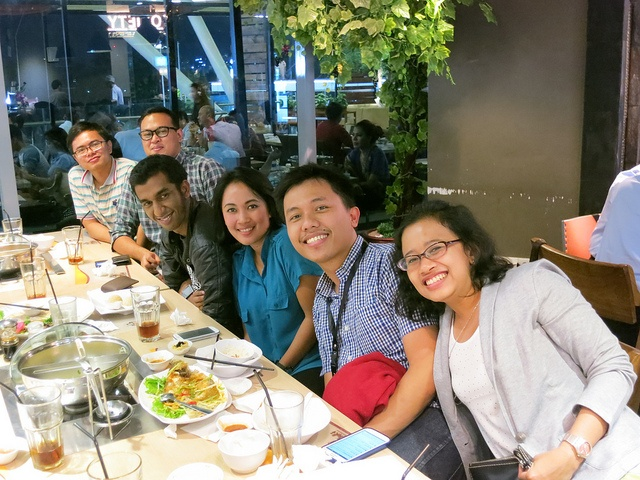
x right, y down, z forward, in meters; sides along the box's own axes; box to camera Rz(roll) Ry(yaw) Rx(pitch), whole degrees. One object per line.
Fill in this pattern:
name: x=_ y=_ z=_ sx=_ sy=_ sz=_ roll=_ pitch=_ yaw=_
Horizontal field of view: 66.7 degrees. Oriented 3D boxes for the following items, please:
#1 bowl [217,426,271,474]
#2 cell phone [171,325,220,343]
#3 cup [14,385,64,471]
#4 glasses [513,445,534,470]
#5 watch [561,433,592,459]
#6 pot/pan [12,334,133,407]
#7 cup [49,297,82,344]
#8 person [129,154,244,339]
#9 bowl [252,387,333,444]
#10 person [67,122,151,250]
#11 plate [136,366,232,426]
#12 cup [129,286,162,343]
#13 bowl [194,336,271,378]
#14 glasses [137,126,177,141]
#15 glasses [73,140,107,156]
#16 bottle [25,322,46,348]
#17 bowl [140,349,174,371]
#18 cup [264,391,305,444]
bowl: x=-0.214 y=0.609 z=1.396 sx=0.142 sy=0.096 sz=0.100 roll=-7 pitch=14 yaw=-9
cell phone: x=-0.535 y=0.405 z=2.097 sx=0.158 sy=0.016 sz=0.091 roll=-5 pitch=13 yaw=-45
cup: x=-0.819 y=0.535 z=1.447 sx=0.110 sy=0.200 sz=0.204 roll=-14 pitch=17 yaw=-35
glasses: x=0.594 y=0.634 z=1.422 sx=0.020 sy=0.034 sz=0.056 roll=28 pitch=23 yaw=-51
watch: x=0.754 y=0.607 z=1.422 sx=0.087 sy=0.078 sz=0.047 roll=-2 pitch=14 yaw=12
pot/pan: x=-0.819 y=0.484 z=1.613 sx=0.256 sy=0.118 sz=0.264 roll=-18 pitch=39 yaw=-27
cup: x=-1.094 y=0.352 z=2.067 sx=0.102 sy=0.180 sz=0.107 roll=-11 pitch=-7 yaw=-1
person: x=-0.769 y=0.050 z=2.772 sx=1.130 sy=0.398 sz=0.377 roll=38 pitch=25 yaw=31
bowl: x=-0.040 y=0.559 z=1.527 sx=0.154 sy=0.060 sz=0.185 roll=9 pitch=15 yaw=31
person: x=-1.858 y=-0.429 z=4.164 sx=0.551 sy=1.062 sz=0.589 roll=-5 pitch=22 yaw=11
plate: x=-0.461 y=0.529 z=1.651 sx=0.262 sy=0.064 sz=0.317 roll=-8 pitch=26 yaw=-36
cup: x=-0.745 y=0.333 z=2.122 sx=0.136 sy=0.239 sz=0.143 roll=-5 pitch=-15 yaw=-1
bowl: x=-0.342 y=0.476 z=1.866 sx=0.237 sy=0.086 sz=0.262 roll=0 pitch=-3 yaw=30
glasses: x=-1.333 y=-0.883 z=4.024 sx=0.294 sy=0.105 sz=0.126 roll=-9 pitch=14 yaw=-14
glasses: x=-1.916 y=-0.756 z=4.021 sx=0.255 sy=0.122 sz=0.080 roll=-7 pitch=14 yaw=-6
bottle: x=-1.098 y=0.365 z=1.879 sx=0.062 sy=0.066 sz=0.066 roll=-5 pitch=3 yaw=14
bowl: x=-0.619 y=0.456 z=1.858 sx=0.063 sy=0.034 sz=0.081 roll=-1 pitch=16 yaw=-5
cup: x=-0.086 y=0.502 z=1.432 sx=0.113 sy=0.141 sz=0.120 roll=-3 pitch=-2 yaw=0
